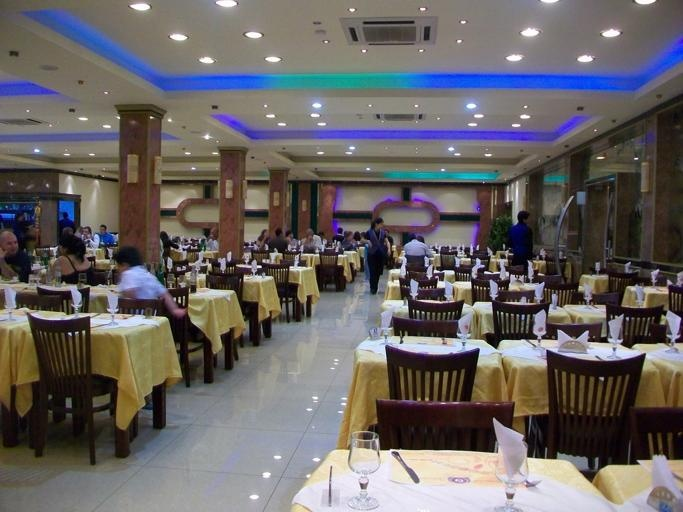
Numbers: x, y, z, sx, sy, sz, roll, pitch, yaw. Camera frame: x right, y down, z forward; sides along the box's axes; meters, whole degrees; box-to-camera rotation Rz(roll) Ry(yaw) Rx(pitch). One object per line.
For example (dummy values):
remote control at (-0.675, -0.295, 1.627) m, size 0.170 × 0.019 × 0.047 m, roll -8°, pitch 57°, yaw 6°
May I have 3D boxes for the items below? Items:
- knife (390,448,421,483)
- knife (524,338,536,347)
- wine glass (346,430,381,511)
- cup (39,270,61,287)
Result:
knife at (0.314, 0.988, 2.533) m, size 0.043 × 0.025 × 0.238 m, roll 3°, pitch 8°, yaw -10°
knife at (1.560, 0.724, 4.405) m, size 0.053 × 0.028 × 0.158 m, roll 3°, pitch 3°, yaw -4°
wine glass at (0.103, 0.917, 2.374) m, size 0.130 × 0.300 × 0.231 m, roll 1°, pitch 8°, yaw 2°
cup at (-3.576, 0.282, 6.596) m, size 0.266 × 0.167 × 0.196 m, roll -4°, pitch -7°, yaw 28°
